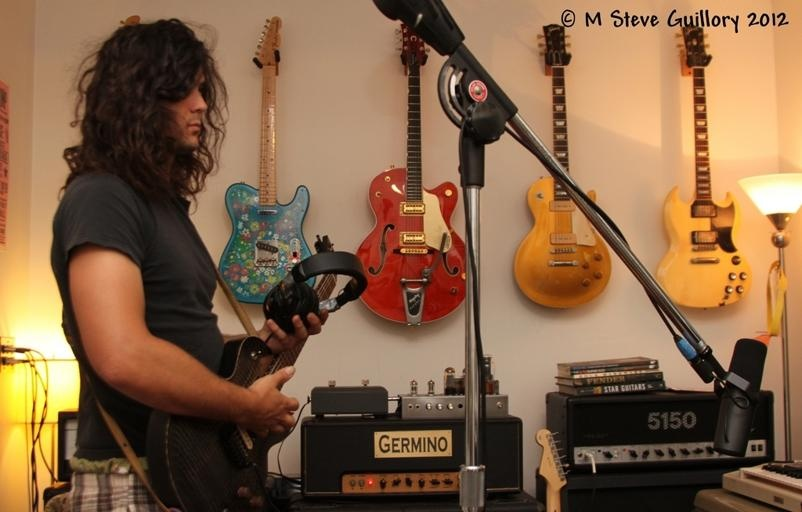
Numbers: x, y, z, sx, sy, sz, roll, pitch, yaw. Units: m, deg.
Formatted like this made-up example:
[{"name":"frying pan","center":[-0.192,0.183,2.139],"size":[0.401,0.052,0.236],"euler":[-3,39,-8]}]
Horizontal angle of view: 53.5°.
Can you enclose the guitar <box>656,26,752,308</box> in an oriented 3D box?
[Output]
[{"name":"guitar","center":[1.750,-0.545,4.772],"size":[0.550,1.690,0.199],"euler":[-2,-3,-10]}]

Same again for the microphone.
[{"name":"microphone","center":[1.251,0.528,2.951],"size":[0.215,0.438,0.133],"euler":[-3,-3,9]}]

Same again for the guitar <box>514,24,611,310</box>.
[{"name":"guitar","center":[0.931,-0.543,4.739],"size":[0.599,1.721,0.227],"euler":[-3,-3,4]}]
